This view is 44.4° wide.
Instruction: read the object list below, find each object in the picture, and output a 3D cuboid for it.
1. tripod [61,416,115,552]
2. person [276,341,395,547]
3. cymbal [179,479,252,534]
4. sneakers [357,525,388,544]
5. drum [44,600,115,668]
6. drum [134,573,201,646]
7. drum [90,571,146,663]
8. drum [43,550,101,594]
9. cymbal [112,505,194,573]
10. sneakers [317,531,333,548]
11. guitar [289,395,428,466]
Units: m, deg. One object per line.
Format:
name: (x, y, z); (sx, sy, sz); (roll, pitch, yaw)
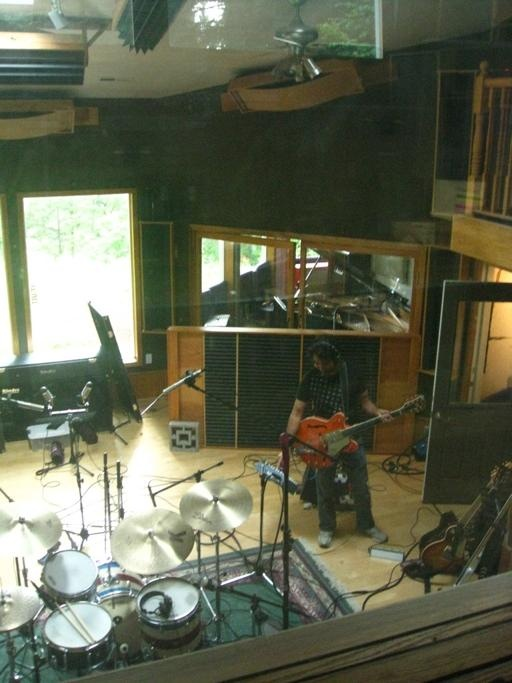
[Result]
tripod: (-1.101, 0.934, 4.047); (0.297, 0.690, 0.298); (-14, 47, -7)
person: (0.498, 0.677, 3.951); (0.757, 1.300, 0.454); (-5, 6, 0)
cymbal: (-0.202, 0.799, 3.053); (0.344, 0.214, 0.317); (-1, -6, -11)
sneakers: (0.721, 1.184, 3.861); (0.147, 0.055, 0.074); (5, 21, 43)
drum: (-0.705, 1.160, 2.481); (0.255, 0.183, 0.358); (-1, -6, -12)
drum: (-0.364, 1.133, 2.622); (0.259, 0.216, 0.278); (-2, -6, 0)
drum: (-0.617, 1.188, 2.676); (0.243, 0.216, 0.217); (2, 16, -18)
drum: (-0.831, 1.036, 2.803); (0.175, 0.148, 0.161); (11, 28, -10)
cymbal: (-0.460, 0.911, 2.802); (0.360, 0.285, 0.251); (-1, -6, -9)
sneakers: (0.417, 1.196, 3.786); (0.081, 0.073, 0.196); (0, -2, 5)
guitar: (0.504, 0.562, 3.748); (0.991, 0.349, 0.150); (-22, -5, 24)
